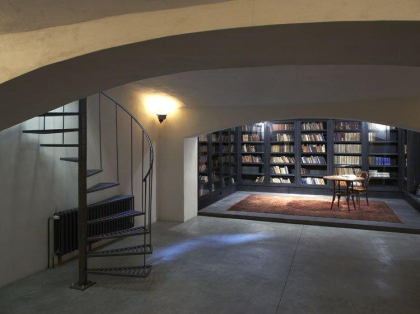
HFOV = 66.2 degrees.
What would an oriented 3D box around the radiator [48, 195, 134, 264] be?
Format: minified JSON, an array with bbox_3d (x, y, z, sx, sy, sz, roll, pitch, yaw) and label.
[{"bbox_3d":[-1.953,1.135,5.104,0.226,0.698,1.425,-3,0,22],"label":"radiator"}]

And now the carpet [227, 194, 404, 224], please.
[{"bbox_3d":[2.485,1.195,7.970,3.628,0.171,2.541,1,6,21],"label":"carpet"}]

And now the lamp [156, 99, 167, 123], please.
[{"bbox_3d":[-1.041,-0.952,6.904,0.281,0.408,0.244,0,8,-17],"label":"lamp"}]
